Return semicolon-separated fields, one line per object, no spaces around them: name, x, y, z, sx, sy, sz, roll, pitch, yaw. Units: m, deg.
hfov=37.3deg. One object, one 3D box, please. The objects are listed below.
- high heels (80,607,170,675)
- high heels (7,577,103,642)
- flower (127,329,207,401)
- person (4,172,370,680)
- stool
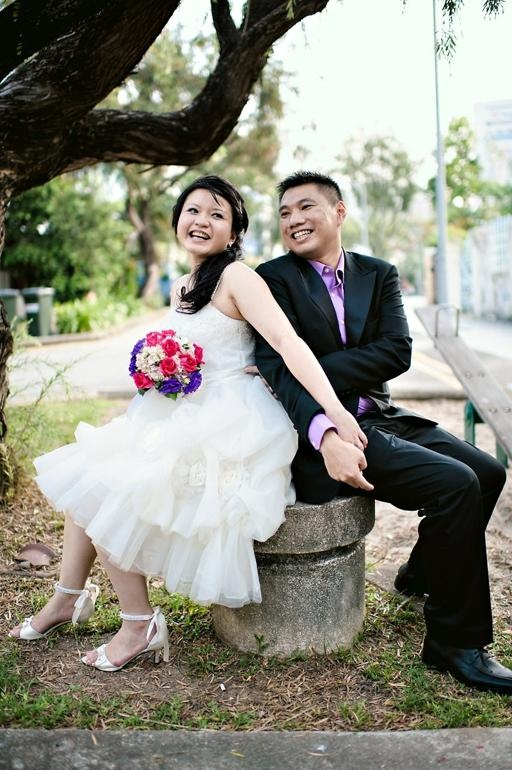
high heels;-0.493;0.953;2.842;0.339;0.180;0.133;-2;-6;-9
high heels;-0.849;0.887;3.051;0.432;0.178;0.157;-17;23;-16
flower;-0.334;-0.074;2.897;0.284;0.261;0.194;-29;-2;-3
person;-0.290;0.118;2.851;0.890;1.835;0.934;-8;14;-39
stool;0.184;0.706;3.076;0.646;0.512;0.637;-1;2;20
